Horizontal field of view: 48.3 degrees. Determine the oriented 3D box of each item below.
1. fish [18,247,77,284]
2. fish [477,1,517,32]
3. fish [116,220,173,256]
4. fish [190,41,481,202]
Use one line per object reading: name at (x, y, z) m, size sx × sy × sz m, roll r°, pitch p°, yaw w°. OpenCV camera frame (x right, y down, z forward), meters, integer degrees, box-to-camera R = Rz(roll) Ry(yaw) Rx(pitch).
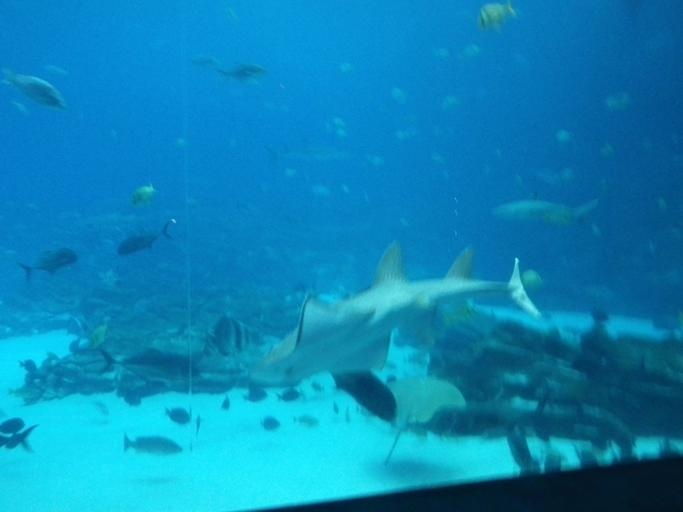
fish at (-2.091, 0.025, 5.427) m, size 0.257 × 0.255 × 0.245 m, roll 8°, pitch 14°, yaw 29°
fish at (1.222, -1.916, 6.094) m, size 0.248 × 0.155 × 0.355 m, roll -7°, pitch -25°, yaw 1°
fish at (-1.436, -0.143, 5.632) m, size 0.413 × 0.270 × 0.064 m, roll 1°, pitch -25°, yaw -14°
fish at (0.106, -1.070, 6.077) m, size 2.671 × 1.103 × 0.621 m, roll 0°, pitch 3°, yaw -4°
